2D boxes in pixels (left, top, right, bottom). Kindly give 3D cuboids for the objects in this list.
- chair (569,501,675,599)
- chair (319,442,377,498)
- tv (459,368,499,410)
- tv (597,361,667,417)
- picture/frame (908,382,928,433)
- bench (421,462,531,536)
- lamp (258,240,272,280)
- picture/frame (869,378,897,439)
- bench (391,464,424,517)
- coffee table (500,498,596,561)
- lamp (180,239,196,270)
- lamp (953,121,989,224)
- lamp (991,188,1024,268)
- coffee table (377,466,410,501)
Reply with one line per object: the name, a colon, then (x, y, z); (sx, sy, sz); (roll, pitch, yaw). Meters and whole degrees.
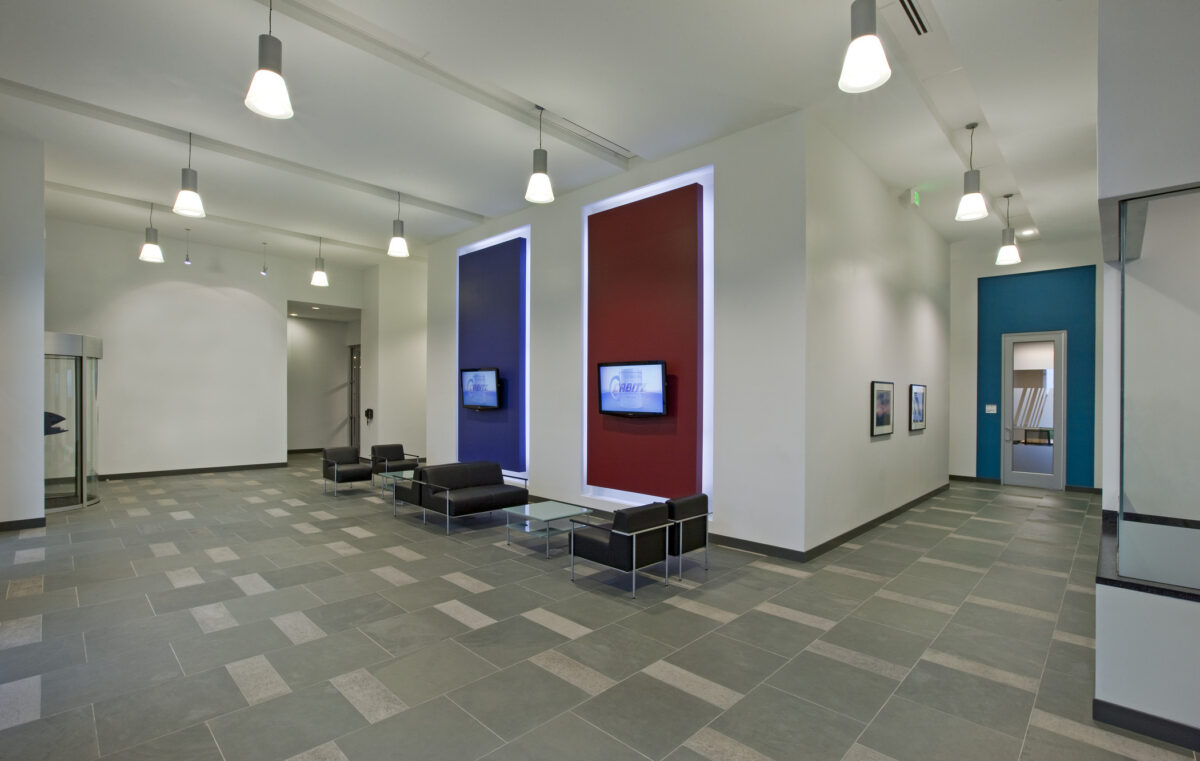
chair: (0.268, 2.109, 9.532); (1.180, 1.010, 0.971); (2, 3, 40)
chair: (-5.024, 1.726, 14.385); (0.867, 0.947, 1.129); (1, -4, -38)
tv: (-2.370, 0.177, 14.212); (0.226, 0.767, 1.188); (-1, -1, -37)
tv: (0.521, 0.147, 11.480); (1.321, 0.858, 0.153); (-2, -1, 41)
picture/frame: (5.932, 0.500, 13.315); (0.969, 0.948, 0.106); (1, 0, -45)
bench: (-2.165, 1.772, 11.948); (1.492, 0.963, 1.101); (-1, -1, -37)
lamp: (-7.772, -2.713, 16.565); (0.204, 0.650, 0.842); (-1, -1, -25)
picture/frame: (4.694, 0.468, 11.870); (0.092, 0.948, 0.959); (-4, -8, 38)
bench: (-3.231, 1.786, 12.119); (0.237, 0.604, 0.965); (-1, -1, -33)
coffee table: (-0.858, 2.198, 10.944); (0.856, 0.465, 0.874); (1, 1, 44)
lamp: (-9.124, -2.787, 15.790); (0.204, 0.531, 0.439); (-1, -1, -33)
lamp: (5.223, -2.911, 10.009); (0.586, 1.252, 0.584); (-3, 5, -1)
lamp: (7.040, -2.570, 12.296); (0.449, 1.166, 0.448); (4, 17, 38)
coffee table: (-3.796, 1.891, 13.374); (0.632, 0.486, 0.988); (0, 0, -33)
